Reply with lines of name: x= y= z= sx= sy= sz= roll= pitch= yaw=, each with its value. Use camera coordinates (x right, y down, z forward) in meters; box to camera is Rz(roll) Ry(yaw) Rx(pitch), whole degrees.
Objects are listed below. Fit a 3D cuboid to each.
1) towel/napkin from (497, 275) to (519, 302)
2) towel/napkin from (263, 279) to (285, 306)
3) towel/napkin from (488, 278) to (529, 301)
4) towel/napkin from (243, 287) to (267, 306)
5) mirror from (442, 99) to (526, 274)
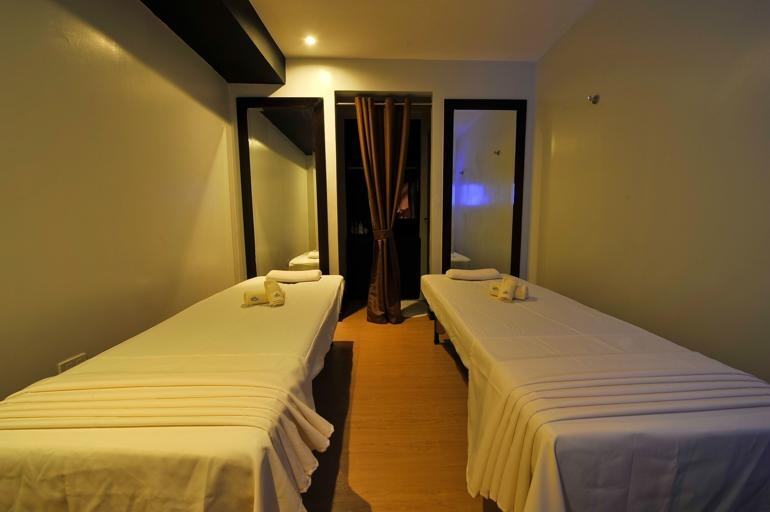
towel/napkin: x=0.864 y=0.221 z=3.669 sx=0.104 sy=0.188 sz=0.075 roll=15 pitch=-31 yaw=27
towel/napkin: x=-0.722 y=0.249 z=3.533 sx=0.082 sy=0.112 sz=0.174 roll=-7 pitch=-1 yaw=5
towel/napkin: x=0.856 y=0.233 z=3.634 sx=0.177 sy=0.079 sz=0.186 roll=1 pitch=13 yaw=22
towel/napkin: x=-0.846 y=0.268 z=3.496 sx=0.132 sy=0.091 sz=0.103 roll=-6 pitch=26 yaw=-18
mirror: x=0.985 y=-0.597 z=5.297 sx=0.787 sy=2.033 sz=0.036 roll=1 pitch=-11 yaw=11
